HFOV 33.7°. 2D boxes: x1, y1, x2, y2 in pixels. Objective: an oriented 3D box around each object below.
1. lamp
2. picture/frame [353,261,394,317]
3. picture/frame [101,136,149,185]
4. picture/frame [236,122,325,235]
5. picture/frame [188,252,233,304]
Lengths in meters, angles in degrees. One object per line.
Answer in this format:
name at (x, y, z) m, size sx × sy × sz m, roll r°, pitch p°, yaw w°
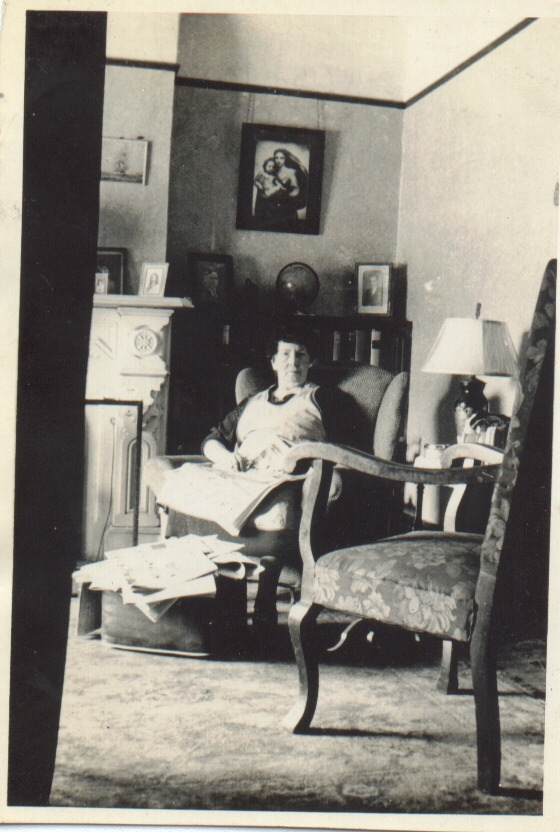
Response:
lamp at (0.477, -0.105, 2.299) m, size 0.188 × 0.416 × 0.215 m, roll 6°, pitch 14°, yaw 19°
picture/frame at (0.251, -0.343, 2.478) m, size 0.101 × 0.187 × 0.006 m, roll 2°, pitch -33°, yaw 7°
picture/frame at (-0.389, -0.651, 2.344) m, size 0.119 × 0.121 × 0.029 m, roll 5°, pitch 2°, yaw -12°
picture/frame at (-0.001, -0.634, 2.404) m, size 0.189 × 0.311 × 0.020 m, roll 1°, pitch 16°, yaw -13°
picture/frame at (-0.182, -0.361, 2.469) m, size 0.113 × 0.020 × 0.195 m, roll -1°, pitch -44°, yaw -8°
